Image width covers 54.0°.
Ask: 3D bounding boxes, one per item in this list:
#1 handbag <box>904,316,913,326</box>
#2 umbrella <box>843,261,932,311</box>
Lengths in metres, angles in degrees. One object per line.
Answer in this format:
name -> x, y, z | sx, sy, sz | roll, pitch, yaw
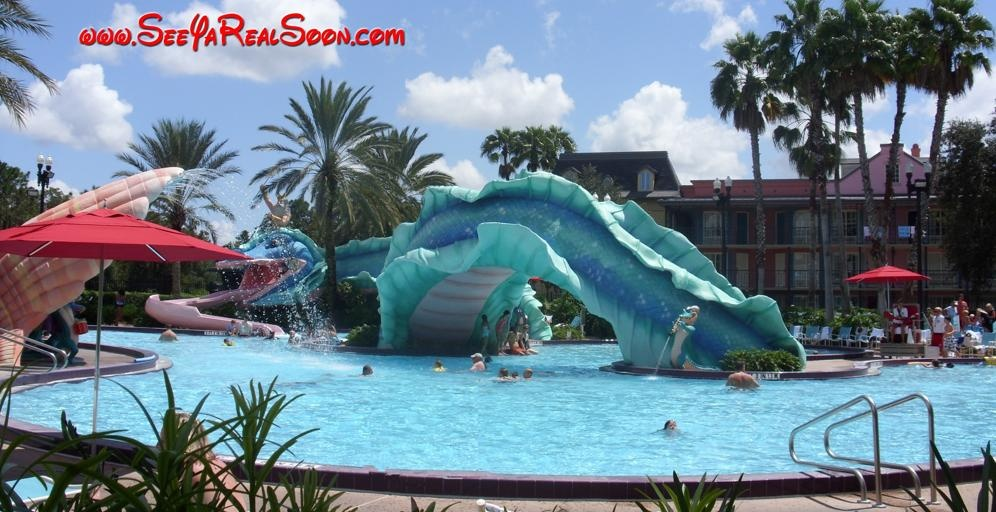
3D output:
handbag -> 18.142, 2.879, 43.184 | 0.443, 0.099, 0.424 | -11, -47, 7
umbrella -> 17.874, 1.589, 45.050 | 6.127, 2.644, 2.699 | 0, 1, 17
